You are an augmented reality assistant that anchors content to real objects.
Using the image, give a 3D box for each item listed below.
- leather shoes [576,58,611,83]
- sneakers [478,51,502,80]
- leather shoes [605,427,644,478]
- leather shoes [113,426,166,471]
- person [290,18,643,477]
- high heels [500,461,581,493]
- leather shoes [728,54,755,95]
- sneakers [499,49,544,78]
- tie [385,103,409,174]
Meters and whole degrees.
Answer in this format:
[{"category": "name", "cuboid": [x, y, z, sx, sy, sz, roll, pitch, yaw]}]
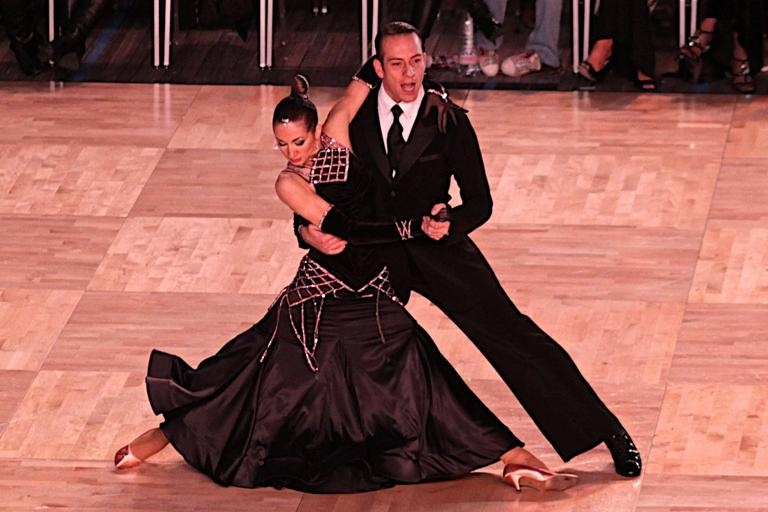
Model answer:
[{"category": "leather shoes", "cuboid": [1.831, -1.633, 7.431, 0.087, 0.351, 0.129, 14, 72, 58]}, {"category": "sneakers", "cuboid": [0.955, -1.771, 7.656, 0.193, 0.119, 0.247, 2, 56, 0]}, {"category": "leather shoes", "cuboid": [1.088, 0.925, 3.838, 0.104, 0.114, 0.247, -33, 61, -1]}, {"category": "leather shoes", "cuboid": [-1.161, 0.943, 3.993, 0.332, 0.102, 0.141, -26, -3, 14]}, {"category": "person", "cuboid": [0.368, -0.007, 3.632, 1.378, 1.948, 0.471, 5, 29, 15]}, {"category": "high heels", "cuboid": [0.665, 0.999, 3.724, 0.374, 0.164, 0.114, -7, 28, 8]}, {"category": "leather shoes", "cuboid": [3.105, -1.579, 7.270, 0.215, 0.265, 0.322, 7, 28, 19]}, {"category": "sneakers", "cuboid": [1.229, -1.750, 7.631, 0.371, 0.175, 0.116, -9, 3, -17]}, {"category": "tie", "cuboid": [0.046, -0.478, 3.466, 0.076, 0.293, 0.103, 8, 30, 21]}]
